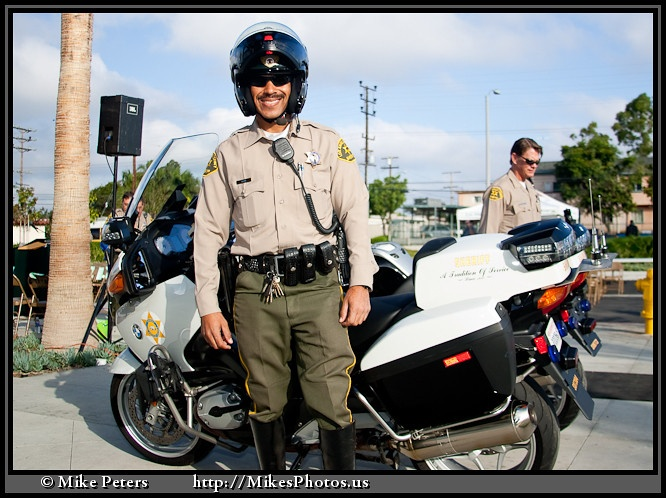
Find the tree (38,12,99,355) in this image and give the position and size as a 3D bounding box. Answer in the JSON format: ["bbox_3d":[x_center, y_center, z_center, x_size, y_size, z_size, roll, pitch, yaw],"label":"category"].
[{"bbox_3d":[-3.120,-0.820,7.532,0.602,3.947,0.441,-1,5,-26],"label":"tree"}]

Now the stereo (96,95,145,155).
[{"bbox_3d":[-1.656,-0.979,5.010,0.454,0.446,0.450,1,3,-42],"label":"stereo"}]

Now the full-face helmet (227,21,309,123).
[{"bbox_3d":[-0.379,-1.085,3.911,0.443,0.568,0.568,-4,4,-11],"label":"full-face helmet"}]

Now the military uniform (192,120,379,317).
[{"bbox_3d":[-0.280,-0.149,3.718,1.069,1.247,0.420,-3,0,4],"label":"military uniform"}]

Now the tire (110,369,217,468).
[{"bbox_3d":[-1.150,1.158,4.420,0.628,0.740,0.138,10,5,28],"label":"tire"}]

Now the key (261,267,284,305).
[{"bbox_3d":[-0.339,0.207,3.661,0.125,0.191,0.037,1,4,-2],"label":"key"}]

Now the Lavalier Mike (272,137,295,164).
[{"bbox_3d":[-0.283,-0.584,3.721,0.125,0.149,0.055,0,5,-9],"label":"Lavalier Mike"}]
